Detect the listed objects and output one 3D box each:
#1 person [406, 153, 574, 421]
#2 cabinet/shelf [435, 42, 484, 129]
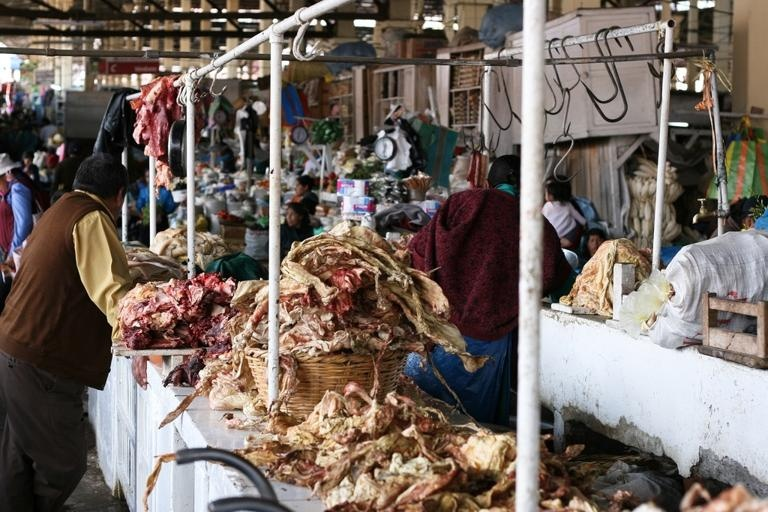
[{"bbox_3d":[0.864,0.407,7.237,1.284,2.489,0.784,16,34,20],"label":"person"},{"bbox_3d":[1.007,-2.174,12.186,0.524,1.091,1.285,-3,5,-17],"label":"cabinet/shelf"}]
